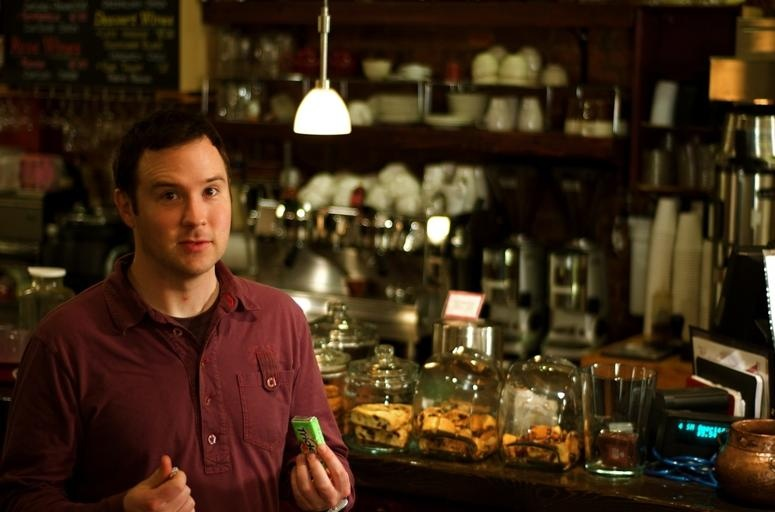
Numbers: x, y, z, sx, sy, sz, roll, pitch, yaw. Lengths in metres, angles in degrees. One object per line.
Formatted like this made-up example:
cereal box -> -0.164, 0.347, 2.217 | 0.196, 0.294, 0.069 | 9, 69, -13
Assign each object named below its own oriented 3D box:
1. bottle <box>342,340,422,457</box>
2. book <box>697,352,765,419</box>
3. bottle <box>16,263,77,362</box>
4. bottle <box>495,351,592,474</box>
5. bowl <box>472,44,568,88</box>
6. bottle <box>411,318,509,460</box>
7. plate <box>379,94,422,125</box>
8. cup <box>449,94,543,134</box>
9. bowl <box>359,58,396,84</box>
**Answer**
bottle -> 0.004, 0.503, 2.671 | 0.300, 0.351, 0.309 | 3, -7, -20
book -> 1.128, 0.454, 2.503 | 0.040, 0.159, 0.170 | -3, 10, -29
bottle -> -1.381, 0.204, 2.961 | 0.189, 0.315, 0.199 | 8, 9, -1
bottle -> 0.494, 0.516, 2.415 | 0.303, 0.419, 0.300 | 1, -7, 0
bowl -> 0.662, -0.984, 3.866 | 0.356, 0.122, 0.361 | 2, 1, 0
bottle -> 0.235, 0.465, 2.470 | 0.306, 0.455, 0.433 | 2, -9, 13
plate -> 0.053, -0.742, 3.715 | 0.224, 0.139, 0.228 | 2, 5, 23
cup -> 0.533, -0.672, 3.467 | 0.570, 0.212, 0.202 | -1, 2, -37
bowl -> -0.073, -1.117, 4.456 | 0.179, 0.104, 0.181 | 2, 15, 0
